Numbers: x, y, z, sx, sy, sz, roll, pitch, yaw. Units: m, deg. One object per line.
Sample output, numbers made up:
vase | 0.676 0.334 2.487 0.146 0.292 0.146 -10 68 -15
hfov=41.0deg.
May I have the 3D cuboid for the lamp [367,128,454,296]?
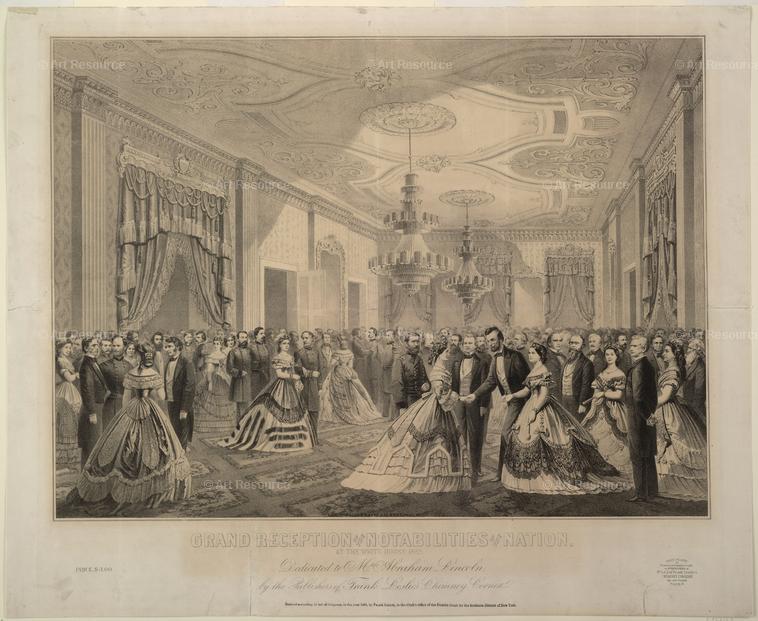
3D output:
lamp | 0.289 -0.828 8.717 0.609 1.251 0.617 0 1 -2
